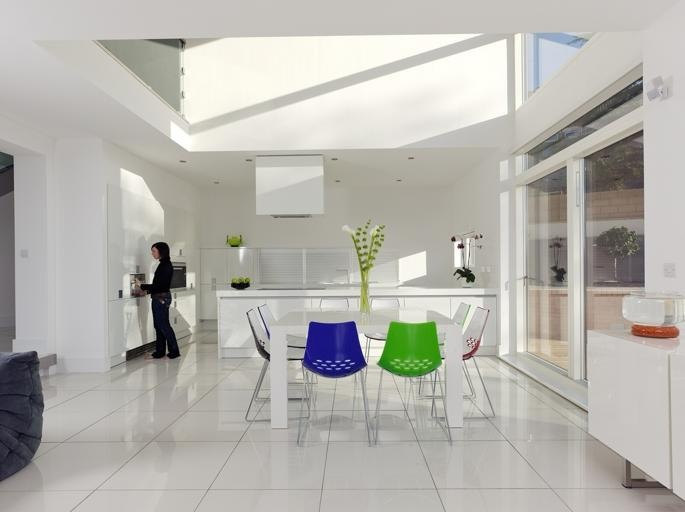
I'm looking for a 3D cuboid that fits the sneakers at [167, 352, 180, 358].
[{"bbox_3d":[-2.467,1.447,7.236,0.152,0.058,0.080,8,-10,-27],"label":"sneakers"}]

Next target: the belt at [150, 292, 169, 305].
[{"bbox_3d":[-2.631,0.607,7.152,0.194,0.145,0.161,-1,2,21],"label":"belt"}]

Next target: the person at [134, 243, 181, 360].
[{"bbox_3d":[-2.632,0.652,7.189,0.464,1.679,0.301,-2,4,-20],"label":"person"}]

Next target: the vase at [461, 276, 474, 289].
[{"bbox_3d":[1.939,0.418,7.574,0.146,0.107,0.140,-1,1,-10],"label":"vase"}]

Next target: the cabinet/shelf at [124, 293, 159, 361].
[{"bbox_3d":[-2.939,1.008,7.215,0.313,0.998,0.903,0,-3,-3],"label":"cabinet/shelf"}]

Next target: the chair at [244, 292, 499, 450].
[{"bbox_3d":[0.361,1.057,5.043,2.434,1.018,1.869,-1,4,-11],"label":"chair"}]

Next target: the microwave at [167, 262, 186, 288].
[{"bbox_3d":[-2.822,0.338,8.594,0.342,0.379,0.552,0,-5,-1],"label":"microwave"}]

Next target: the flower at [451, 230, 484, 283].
[{"bbox_3d":[2.034,-0.046,8.344,0.693,1.035,0.620,0,-3,28],"label":"flower"}]

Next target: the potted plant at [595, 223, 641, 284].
[{"bbox_3d":[2.631,-0.018,4.710,0.372,0.569,0.445,-1,-1,-4],"label":"potted plant"}]

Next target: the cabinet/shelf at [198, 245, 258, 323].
[{"bbox_3d":[-2.022,0.453,8.767,1.413,1.740,0.560,0,-3,-1],"label":"cabinet/shelf"}]
